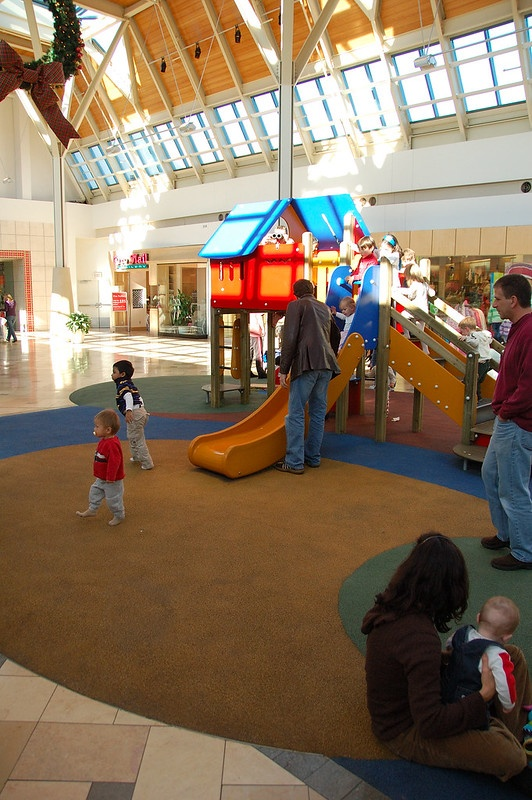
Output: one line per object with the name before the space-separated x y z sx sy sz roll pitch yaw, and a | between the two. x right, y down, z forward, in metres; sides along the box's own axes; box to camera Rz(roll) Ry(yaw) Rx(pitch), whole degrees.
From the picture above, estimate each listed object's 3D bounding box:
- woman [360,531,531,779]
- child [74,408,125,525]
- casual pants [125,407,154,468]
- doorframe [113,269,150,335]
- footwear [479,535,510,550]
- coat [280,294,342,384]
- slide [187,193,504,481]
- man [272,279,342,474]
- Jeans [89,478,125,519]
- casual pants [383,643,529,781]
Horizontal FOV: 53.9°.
woman | 0.503 0.722 1.450 0.417 0.603 0.428 -7 18 -8
child | -1.211 0.509 3.803 0.381 0.936 0.413 -5 21 -30
casual pants | -1.144 0.360 4.716 0.231 0.698 0.350 -3 17 -7
doorframe | -6.088 -4.445 23.567 1.477 2.745 1.287 -3 6 -21
footwear | 1.314 0.828 3.004 0.151 0.070 0.064 9 8 43
coat | 0.418 -0.537 4.588 0.512 0.768 0.370 1 -6 -27
slide | 0.926 -0.655 5.452 3.681 2.379 0.919 -10 16 -37
man | 0.428 -0.247 4.679 0.582 1.714 0.511 2 -1 -45
Jeans | -1.019 0.643 3.362 0.264 0.321 0.117 5 3 25
casual pants | 0.489 0.817 1.329 0.325 0.129 0.303 -9 12 3
